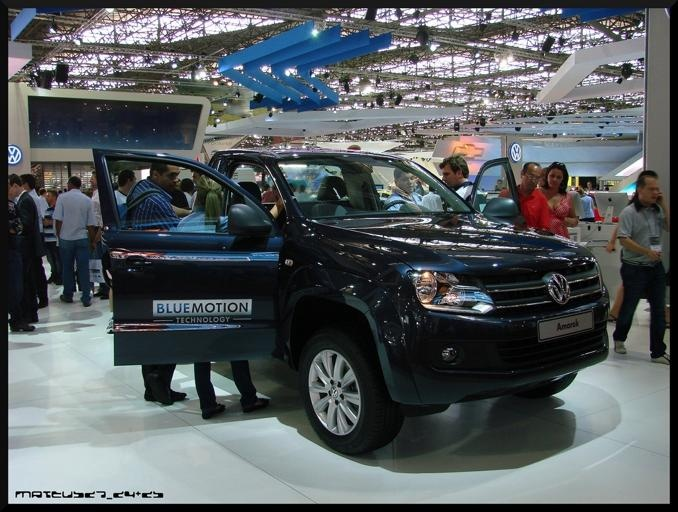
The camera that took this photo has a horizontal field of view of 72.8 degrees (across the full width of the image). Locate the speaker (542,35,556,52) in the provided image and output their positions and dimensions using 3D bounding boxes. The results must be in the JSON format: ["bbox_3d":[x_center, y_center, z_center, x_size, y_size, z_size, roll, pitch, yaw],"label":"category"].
[{"bbox_3d":[7.062,-7.165,15.498,0.327,0.586,1.055,1,8,19],"label":"speaker"}]

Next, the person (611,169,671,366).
[{"bbox_3d":[3.201,0.102,4.795,0.536,1.949,0.592,3,11,28],"label":"person"}]

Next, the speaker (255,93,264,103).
[{"bbox_3d":[-3.403,-6.752,19.713,0.448,0.354,0.106,-11,-25,-26],"label":"speaker"}]

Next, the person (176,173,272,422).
[{"bbox_3d":[-1.035,0.089,3.792,0.909,2.435,0.696,-5,-26,-7],"label":"person"}]

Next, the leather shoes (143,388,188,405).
[{"bbox_3d":[-1.478,1.217,3.985,0.428,0.128,0.124,3,-2,-12],"label":"leather shoes"}]

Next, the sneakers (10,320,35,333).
[{"bbox_3d":[-4.332,0.964,6.225,0.433,0.144,0.124,2,14,-15],"label":"sneakers"}]

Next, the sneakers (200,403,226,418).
[{"bbox_3d":[-1.001,1.234,3.718,0.081,0.072,0.217,8,13,39],"label":"sneakers"}]

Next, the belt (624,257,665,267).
[{"bbox_3d":[3.089,0.057,4.676,0.341,0.087,0.168,2,8,24],"label":"belt"}]

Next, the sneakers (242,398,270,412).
[{"bbox_3d":[-0.688,1.226,3.822,0.234,0.077,0.085,-8,11,-43],"label":"sneakers"}]
